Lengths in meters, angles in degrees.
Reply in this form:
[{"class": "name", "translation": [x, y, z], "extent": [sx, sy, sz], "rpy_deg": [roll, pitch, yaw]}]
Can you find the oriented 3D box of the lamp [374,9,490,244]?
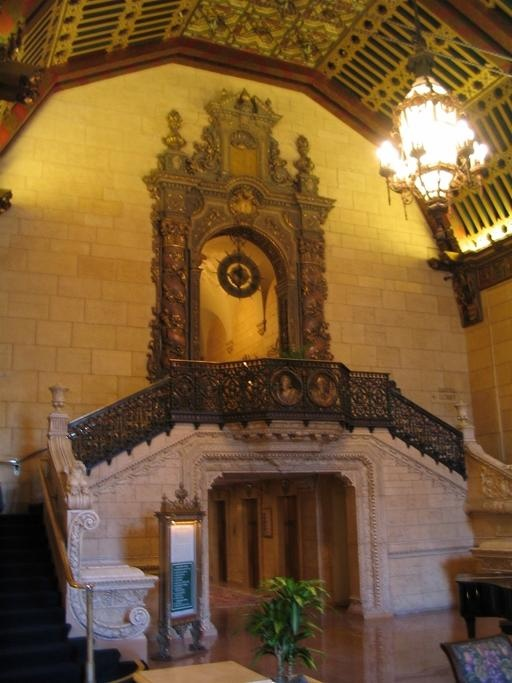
[{"class": "lamp", "translation": [1.816, -2.431, 7.207], "extent": [0.942, 2.247, 0.689], "rpy_deg": [-16, -23, 34]}]
